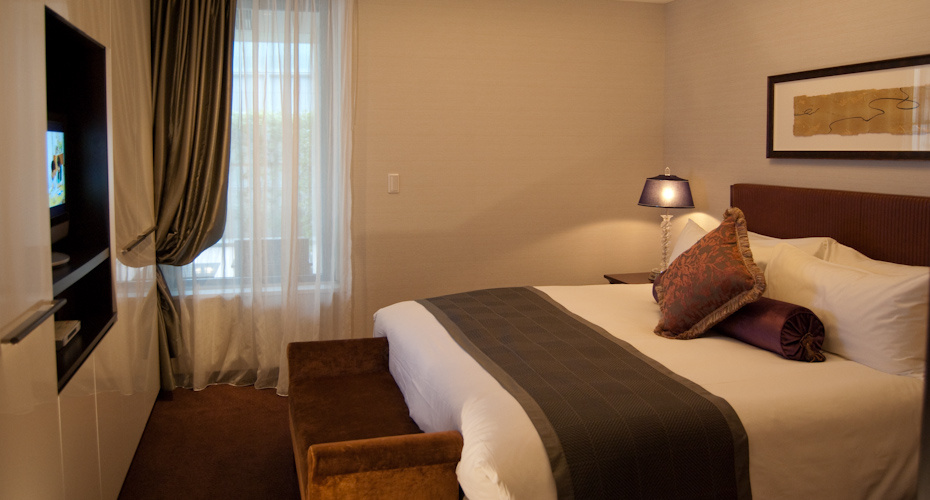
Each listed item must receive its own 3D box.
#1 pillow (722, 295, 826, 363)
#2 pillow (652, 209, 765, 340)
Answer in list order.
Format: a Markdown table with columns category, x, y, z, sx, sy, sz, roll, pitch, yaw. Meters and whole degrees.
| category | x | y | z | sx | sy | sz | roll | pitch | yaw |
| --- | --- | --- | --- | --- | --- | --- | --- | --- | --- |
| pillow | 1.937 | 0.493 | 3.800 | 0.289 | 0.229 | 0.594 | 14 | 1 | -20 |
| pillow | 1.647 | 0.150 | 4.014 | 0.658 | 0.821 | 0.577 | 3 | 10 | 12 |
